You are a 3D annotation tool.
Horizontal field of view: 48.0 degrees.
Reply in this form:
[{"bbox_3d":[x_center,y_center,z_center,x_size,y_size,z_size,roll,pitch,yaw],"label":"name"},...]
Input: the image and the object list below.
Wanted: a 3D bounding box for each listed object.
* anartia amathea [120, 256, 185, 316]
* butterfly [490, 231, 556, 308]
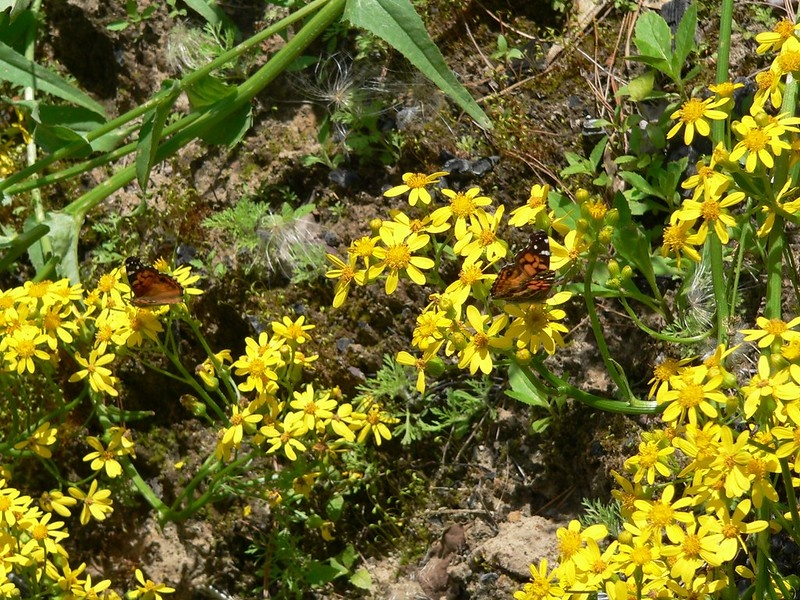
[{"bbox_3d":[-1.191,-0.069,4.313,0.203,0.129,0.256,3,47,-9],"label":"anartia amathea"},{"bbox_3d":[0.537,-0.104,3.914,0.238,0.158,0.312,-12,59,10],"label":"butterfly"}]
